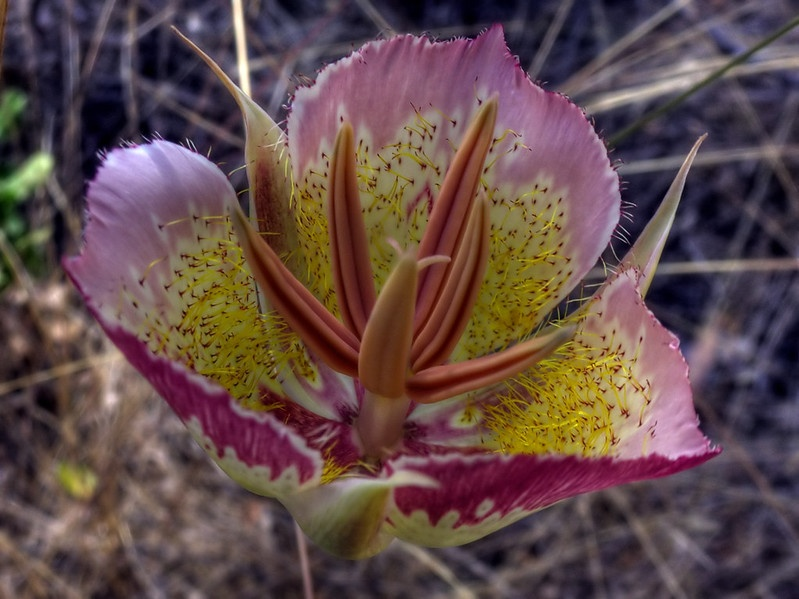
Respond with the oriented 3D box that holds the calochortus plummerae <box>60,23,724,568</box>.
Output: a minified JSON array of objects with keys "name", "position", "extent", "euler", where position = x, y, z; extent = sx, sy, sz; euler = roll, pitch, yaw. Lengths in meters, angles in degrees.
[{"name":"calochortus plummerae","position":[-0.073,0.113,2.995],"extent":[1.588,2.021,1.836],"euler":[3,22,-4]}]
